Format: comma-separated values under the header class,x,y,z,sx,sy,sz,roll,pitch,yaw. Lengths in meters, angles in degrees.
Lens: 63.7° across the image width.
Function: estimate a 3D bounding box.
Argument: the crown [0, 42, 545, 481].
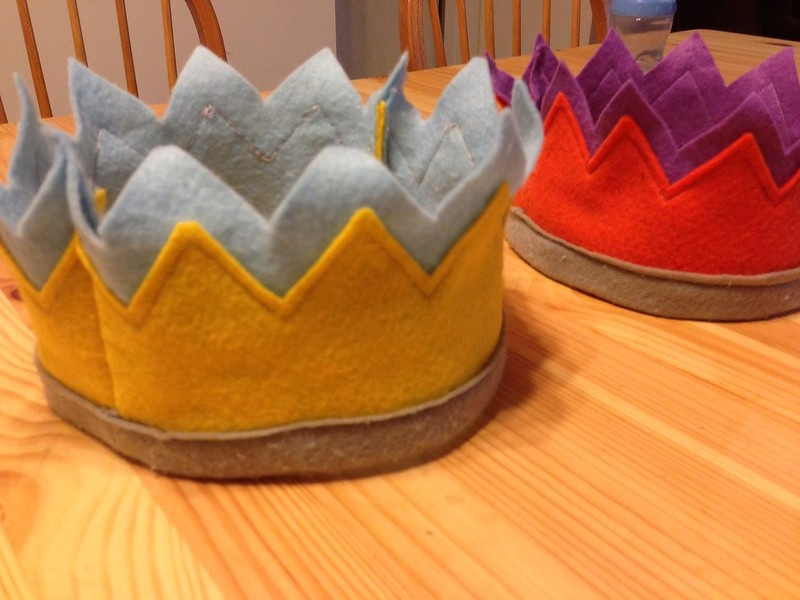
class,x,y,z,sx,sy,sz,roll,pitch,yaw
crown,-0.081,-0.007,0.523,0.360,0.248,0.323,1,31,1
